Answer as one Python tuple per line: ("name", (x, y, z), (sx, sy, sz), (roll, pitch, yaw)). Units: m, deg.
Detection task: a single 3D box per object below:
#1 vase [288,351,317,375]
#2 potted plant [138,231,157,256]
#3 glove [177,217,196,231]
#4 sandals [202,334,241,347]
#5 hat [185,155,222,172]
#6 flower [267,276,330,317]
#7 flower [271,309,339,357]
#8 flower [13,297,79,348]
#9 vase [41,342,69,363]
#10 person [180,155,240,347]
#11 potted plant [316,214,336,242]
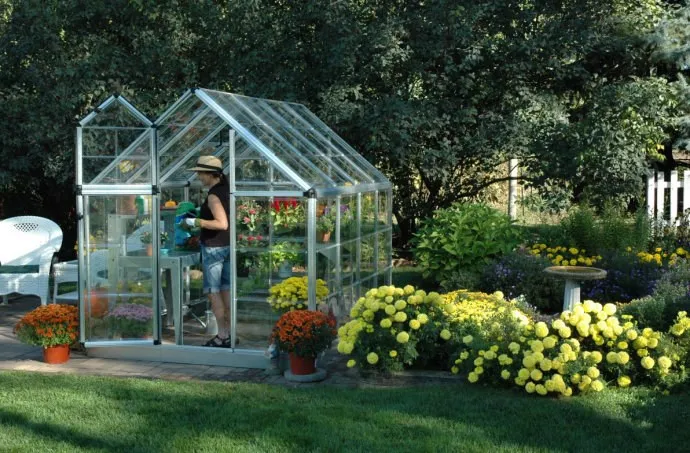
("vase", (-0.551, 1.715, 10.056), (0.322, 0.177, 0.299), (1, 0, 0))
("potted plant", (-2.691, 0.217, 10.764), (0.226, 0.320, 0.085), (-3, -7, 28))
("glove", (-2.160, -0.055, 10.782), (0.229, 0.153, 0.572), (1, -5, -10))
("sandals", (-1.681, 1.503, 10.695), (0.467, 0.122, 0.185), (2, 1, 9))
("hat", (-1.871, -0.858, 10.712), (0.356, 0.118, 0.323), (2, 0, -15))
("flower", (-0.705, 0.886, 10.526), (0.608, 0.335, 0.593), (2, 6, 13))
("flower", (-0.467, 1.300, 10.166), (0.689, 0.528, 0.688), (5, 9, 21))
("flower", (-3.992, 1.271, 10.619), (0.671, 0.375, 0.673), (3, 3, 24))
("vase", (-3.877, 1.686, 10.566), (0.301, 0.191, 0.284), (0, 7, -18))
("person", (-1.842, 0.312, 10.674), (0.612, 2.581, 0.565), (1, -6, -5))
("potted plant", (-0.270, -0.008, 10.793), (0.340, 0.383, 0.412), (-1, 2, 9))
